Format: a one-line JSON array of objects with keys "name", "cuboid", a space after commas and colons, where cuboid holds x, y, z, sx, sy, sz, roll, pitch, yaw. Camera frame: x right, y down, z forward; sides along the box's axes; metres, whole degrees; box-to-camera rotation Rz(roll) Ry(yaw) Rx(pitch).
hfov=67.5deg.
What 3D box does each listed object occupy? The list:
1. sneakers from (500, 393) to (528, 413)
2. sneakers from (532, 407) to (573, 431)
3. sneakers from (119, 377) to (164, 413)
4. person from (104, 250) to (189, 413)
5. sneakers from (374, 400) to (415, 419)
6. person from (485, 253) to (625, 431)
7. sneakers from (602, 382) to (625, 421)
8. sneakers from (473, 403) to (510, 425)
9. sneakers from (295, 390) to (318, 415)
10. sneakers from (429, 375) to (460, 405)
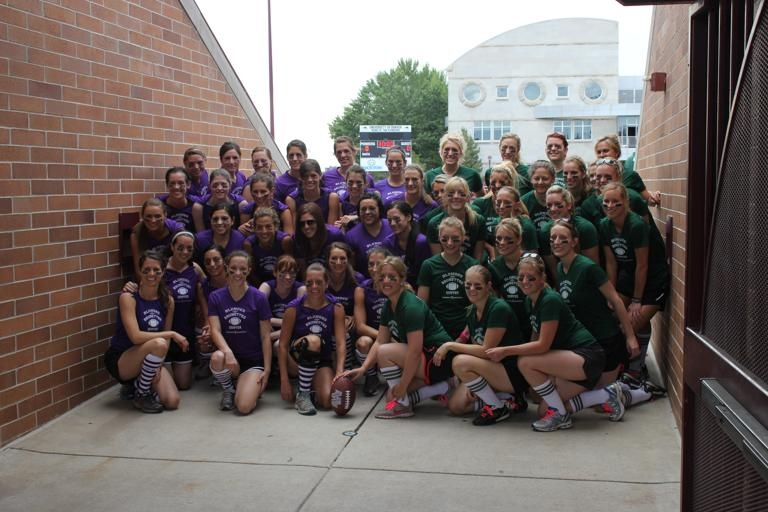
[{"name": "sneakers", "cuboid": [1.180, 1.360, 5.333, 0.361, 0.154, 0.124, 9, -3, -19]}, {"name": "sneakers", "cuboid": [1.456, 1.410, 5.010, 0.405, 0.183, 0.148, -2, -1, -9]}, {"name": "sneakers", "cuboid": [-2.335, 1.310, 5.571, 0.199, 0.265, 0.647, -8, 11, -44]}, {"name": "person", "cuboid": [-2.283, 0.697, 5.587, 0.718, 1.482, 0.577, 5, 10, 40]}, {"name": "sneakers", "cuboid": [0.098, 1.399, 5.279, 0.365, 0.162, 0.146, 0, -3, -5]}, {"name": "person", "cuboid": [1.478, 0.730, 5.077, 0.986, 1.487, 0.487, -4, 8, -20]}, {"name": "sneakers", "cuboid": [2.075, 1.300, 5.218, 0.177, 0.358, 0.133, -6, -10, -10]}, {"name": "sneakers", "cuboid": [0.973, 1.419, 5.210, 0.400, 0.160, 0.131, -4, 0, -23]}, {"name": "sneakers", "cuboid": [-0.726, 1.376, 5.388, 0.177, 0.154, 0.270, -3, 8, -16]}, {"name": "sneakers", "cuboid": [0.621, 1.317, 5.586, 0.138, 0.165, 0.416, -4, -3, 33]}]
